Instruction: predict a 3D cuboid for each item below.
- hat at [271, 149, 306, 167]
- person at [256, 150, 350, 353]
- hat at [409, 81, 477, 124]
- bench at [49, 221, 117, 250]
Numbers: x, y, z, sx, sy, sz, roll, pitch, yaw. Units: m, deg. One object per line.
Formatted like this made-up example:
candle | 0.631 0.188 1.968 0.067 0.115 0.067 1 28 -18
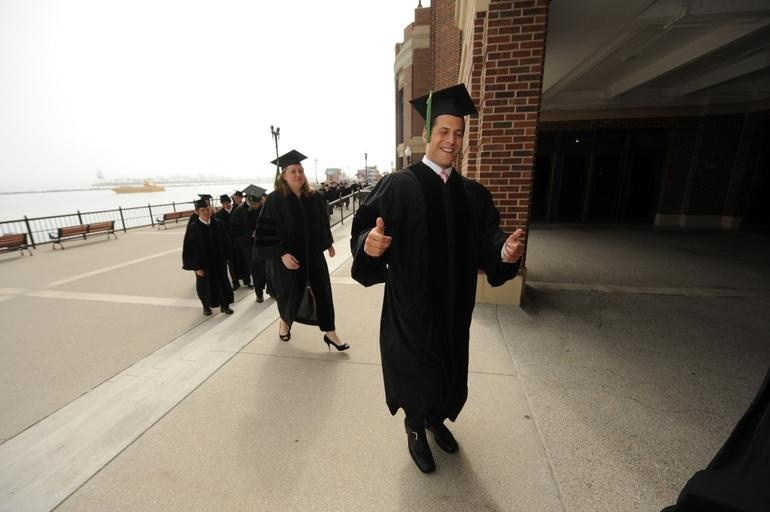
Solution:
hat | -1.467 -1.501 7.052 0.420 0.259 0.861 -4 12 -11
person | -1.342 -0.128 7.238 1.305 3.027 0.772 3 13 17
hat | 0.764 -1.906 5.684 0.659 0.334 0.670 -1 15 26
bench | -10.306 -0.766 15.439 0.997 0.651 2.294 1 12 10
